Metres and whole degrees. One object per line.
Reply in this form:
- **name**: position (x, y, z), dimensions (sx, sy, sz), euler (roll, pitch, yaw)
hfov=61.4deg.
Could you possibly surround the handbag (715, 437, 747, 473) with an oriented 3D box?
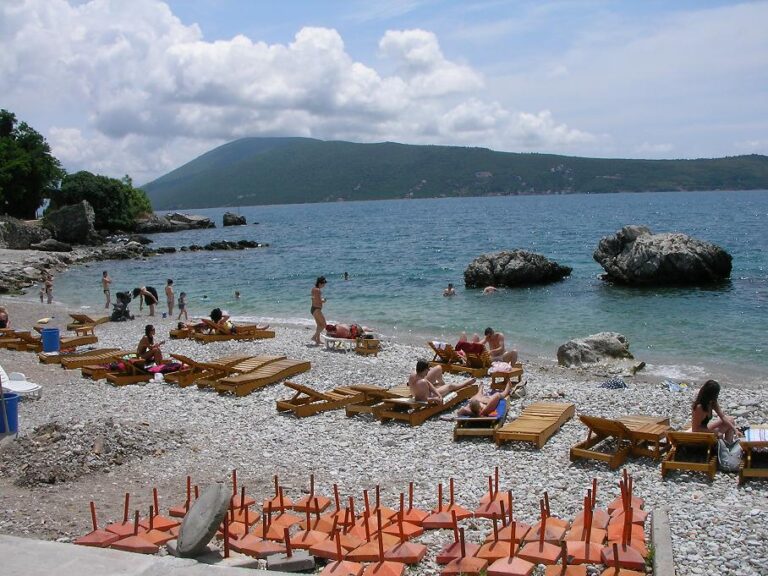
- **handbag**: position (5.792, 2.825, 10.833), dimensions (0.518, 0.532, 0.321), euler (13, -34, -15)

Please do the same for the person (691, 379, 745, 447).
- **person**: position (5.789, 2.154, 11.455), dimensions (0.810, 0.992, 0.695), euler (-1, 5, -6)

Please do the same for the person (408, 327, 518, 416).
- **person**: position (1.784, 2.191, 16.650), dimensions (1.681, 0.980, 2.745), euler (4, 11, 33)
